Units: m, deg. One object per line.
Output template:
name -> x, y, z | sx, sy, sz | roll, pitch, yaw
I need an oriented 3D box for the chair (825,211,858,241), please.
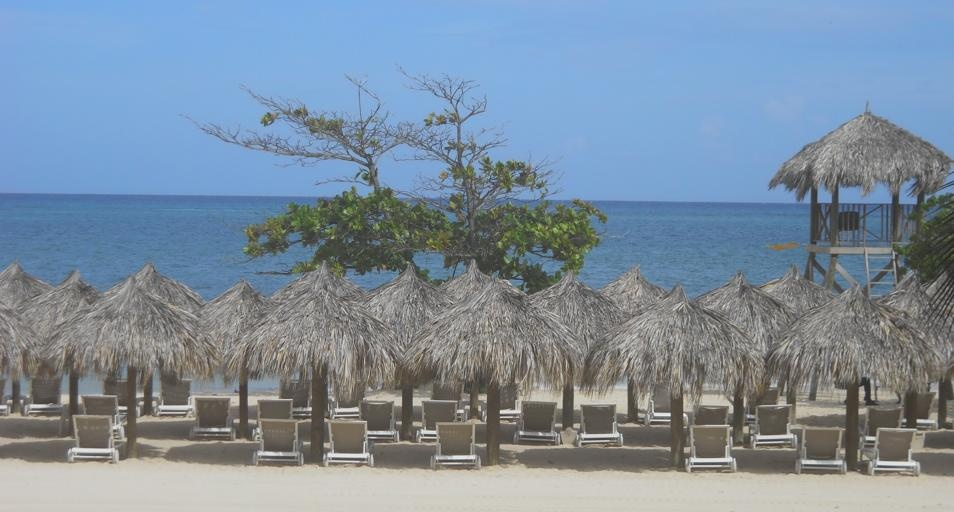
chair -> 13.968, -1.153, 59.812 | 1.428, 1.434, 0.885 | 0, -11, 10
